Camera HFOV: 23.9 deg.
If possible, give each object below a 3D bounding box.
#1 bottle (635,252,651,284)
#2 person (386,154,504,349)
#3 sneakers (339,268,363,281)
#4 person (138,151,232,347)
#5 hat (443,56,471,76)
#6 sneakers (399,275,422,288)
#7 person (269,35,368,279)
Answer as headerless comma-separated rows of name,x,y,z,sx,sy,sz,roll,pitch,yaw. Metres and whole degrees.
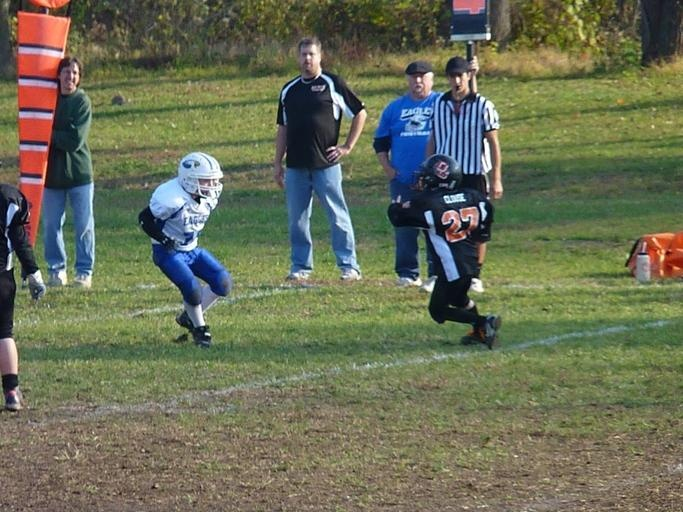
bottle,4.861,0.184,26.046,0.247,0.453,0.216,0,3,3
person,1.552,-0.063,23.602,1.481,2.791,0.547,0,3,1
sneakers,0.140,0.313,26.102,0.145,0.155,0.346,2,-3,45
person,-2.256,-0.086,23.687,1.228,2.792,0.516,-1,3,-6
hat,1.780,-2.900,24.851,0.338,0.273,0.267,-1,4,-3
sneakers,1.097,0.418,25.824,0.384,0.175,0.151,4,-3,-17
person,-0.390,-1.533,25.972,1.362,3.858,0.508,-1,3,-2
